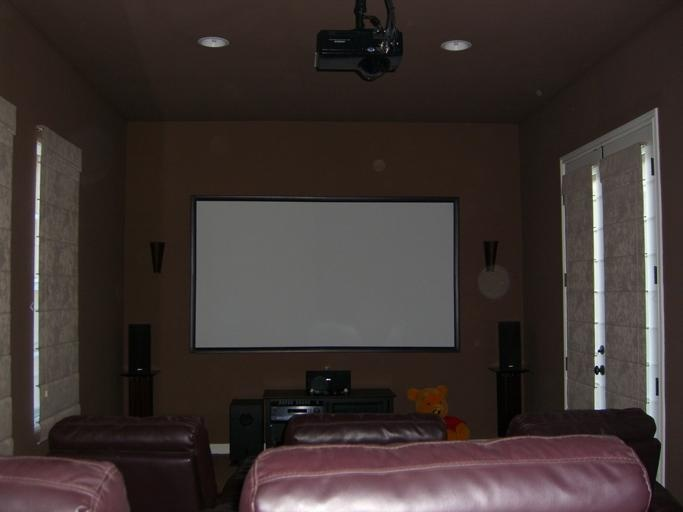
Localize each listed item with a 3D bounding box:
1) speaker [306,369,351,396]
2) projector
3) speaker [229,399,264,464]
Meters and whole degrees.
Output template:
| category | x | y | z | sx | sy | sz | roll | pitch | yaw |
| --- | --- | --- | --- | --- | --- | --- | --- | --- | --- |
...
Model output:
| category | x | y | z | sx | sy | sz | roll | pitch | yaw |
| --- | --- | --- | --- | --- | --- | --- | --- | --- | --- |
| speaker | -0.126 | 1.189 | 5.627 | 0.336 | 0.219 | 0.178 | -1 | -2 | -3 |
| projector | 0.093 | -1.199 | 3.352 | 0.492 | 0.291 | 0.259 | -2 | -7 | 10 |
| speaker | -0.827 | 1.476 | 5.460 | 0.388 | 0.790 | 0.486 | 3 | 0 | -8 |
